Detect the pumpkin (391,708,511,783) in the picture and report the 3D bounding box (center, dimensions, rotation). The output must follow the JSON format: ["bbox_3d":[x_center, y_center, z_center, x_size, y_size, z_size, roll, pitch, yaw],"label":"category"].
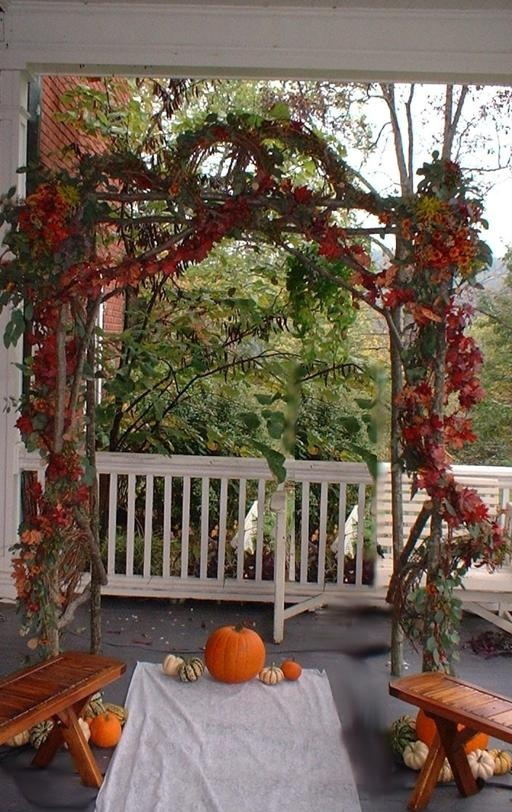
[{"bbox_3d":[0.624,1.099,2.300,0.239,0.094,0.266,23,-2,-33],"label":"pumpkin"}]
